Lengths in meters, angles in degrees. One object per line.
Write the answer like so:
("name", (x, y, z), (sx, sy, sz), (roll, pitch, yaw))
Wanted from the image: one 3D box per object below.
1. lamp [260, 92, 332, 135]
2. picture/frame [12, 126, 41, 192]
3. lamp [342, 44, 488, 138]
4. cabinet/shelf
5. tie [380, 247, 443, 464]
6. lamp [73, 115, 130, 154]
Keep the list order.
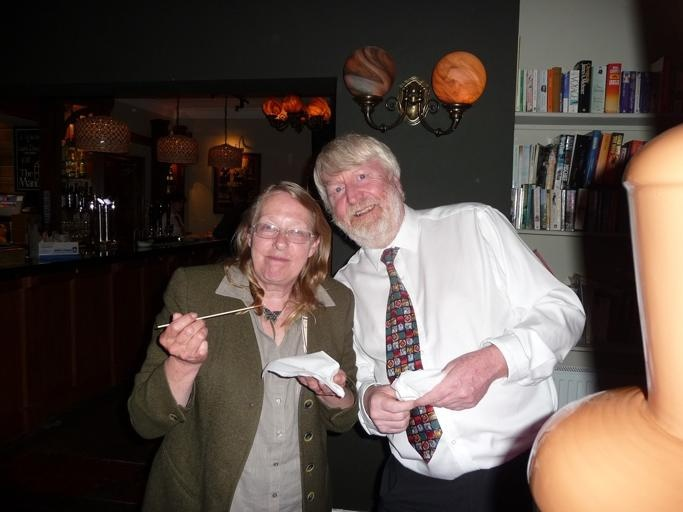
("lamp", (-0.506, -1.546, 5.908), (0.565, 0.374, 0.761), (3, 5, 22))
("picture/frame", (-4.630, -1.401, 8.119), (0.484, 0.968, 0.086), (2, 5, 10))
("lamp", (0.396, -0.934, 3.131), (0.817, 0.478, 0.257), (8, 8, 14))
("cabinet/shelf", (1.348, -0.462, 3.101), (0.767, 0.781, 0.268), (4, 6, 12))
("tie", (0.281, 0.416, 2.334), (0.094, 0.873, 0.163), (19, -33, -36))
("lamp", (-2.493, -1.188, 5.649), (0.418, 0.319, 0.429), (0, 9, -14))
